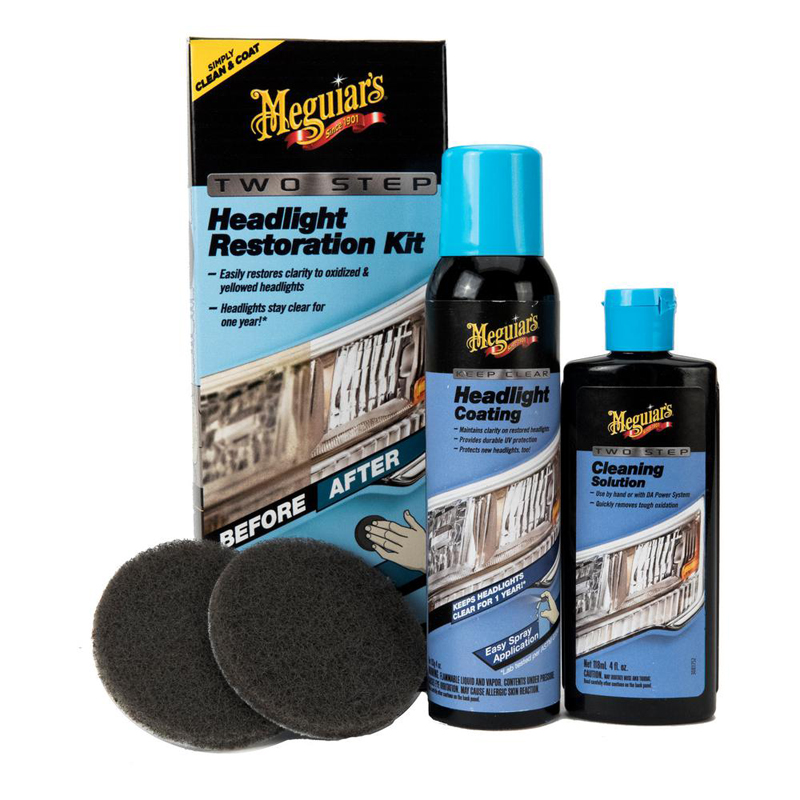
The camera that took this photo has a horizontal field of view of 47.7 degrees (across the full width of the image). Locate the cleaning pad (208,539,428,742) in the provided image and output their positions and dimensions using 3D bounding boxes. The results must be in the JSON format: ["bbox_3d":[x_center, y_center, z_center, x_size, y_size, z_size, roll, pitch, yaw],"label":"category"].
[{"bbox_3d":[-0.143,0.368,1.474,0.391,0.356,0.077,-5,-38,-52],"label":"cleaning pad"}]

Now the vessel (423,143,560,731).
[{"bbox_3d":[0.135,0.059,1.353,0.198,0.864,0.216,-2,13,8],"label":"vessel"}]
